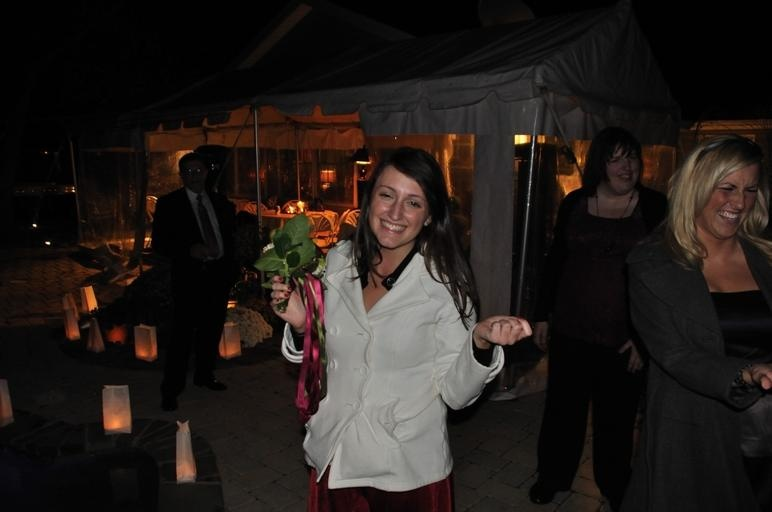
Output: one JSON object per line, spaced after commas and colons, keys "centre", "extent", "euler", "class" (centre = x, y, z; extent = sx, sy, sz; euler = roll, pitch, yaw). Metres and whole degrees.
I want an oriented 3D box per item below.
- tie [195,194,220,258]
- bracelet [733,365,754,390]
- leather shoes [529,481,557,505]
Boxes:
{"centre": [-2.069, -0.336, 6.706], "extent": [0.211, 0.737, 0.299], "euler": [-10, 15, -25], "class": "tie"}
{"centre": [2.143, 0.737, 3.466], "extent": [0.106, 0.082, 0.132], "euler": [-2, 10, 5], "class": "bracelet"}
{"centre": [1.420, 2.150, 5.267], "extent": [0.213, 0.080, 0.253], "euler": [-13, 4, -2], "class": "leather shoes"}
